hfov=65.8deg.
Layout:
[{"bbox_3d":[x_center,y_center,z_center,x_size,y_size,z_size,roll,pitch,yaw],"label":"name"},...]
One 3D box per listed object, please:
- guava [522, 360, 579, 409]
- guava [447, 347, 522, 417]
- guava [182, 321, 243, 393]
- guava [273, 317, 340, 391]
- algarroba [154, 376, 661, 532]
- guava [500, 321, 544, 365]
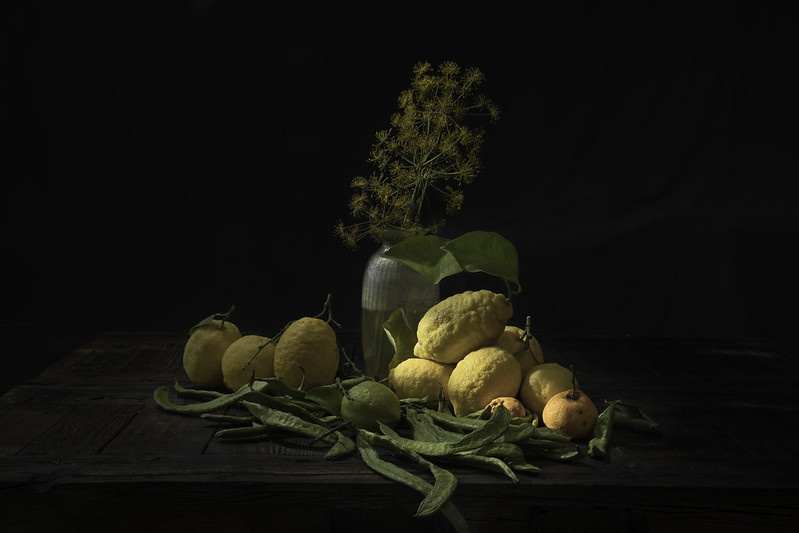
[{"bbox_3d":[0.276,0.219,1.156,0.088,0.088,0.083,2,21,0],"label":"guava"},{"bbox_3d":[0.164,0.216,1.205,0.140,0.105,0.105,-25,41,-4],"label":"guava"},{"bbox_3d":[-0.400,0.177,1.298,0.135,0.160,0.132,4,1,10],"label":"guava"},{"bbox_3d":[-0.183,0.166,1.241,0.140,0.165,0.128,1,1,-11],"label":"guava"},{"bbox_3d":[-0.016,0.295,1.105,0.853,0.098,0.339,5,14,14],"label":"algarroba"},{"bbox_3d":[0.233,0.147,1.256,0.085,0.113,0.088,5,2,-5],"label":"guava"}]
